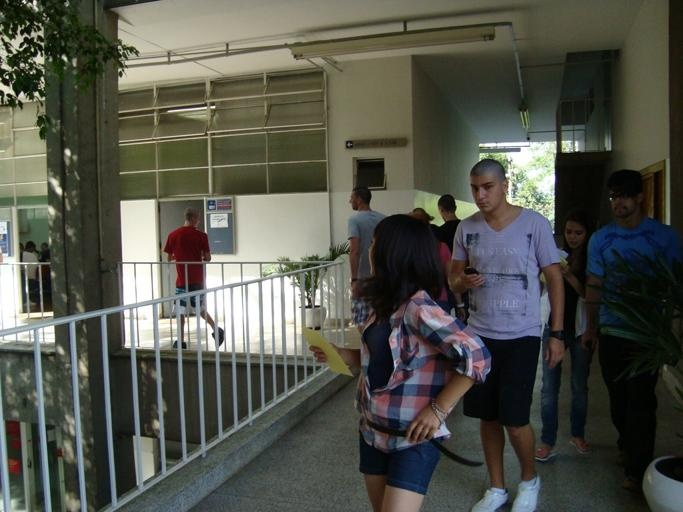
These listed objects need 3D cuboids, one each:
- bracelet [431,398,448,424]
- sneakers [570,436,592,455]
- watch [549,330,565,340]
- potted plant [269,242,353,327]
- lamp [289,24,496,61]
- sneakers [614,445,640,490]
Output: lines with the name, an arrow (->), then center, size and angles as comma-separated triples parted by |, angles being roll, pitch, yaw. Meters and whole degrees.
bracelet -> 0.479, 0.767, 2.944 | 0.037, 0.110, 0.083 | -6, 0, -8
sneakers -> 1.893, 1.504, 4.695 | 0.067, 0.064, 0.141 | -5, 3, -22
watch -> 1.444, 0.519, 3.977 | 0.072, 0.081, 0.069 | 5, -7, -33
potted plant -> -0.396, 0.344, 9.369 | 1.429, 1.422, 1.353 | -3, -6, -1
lamp -> 0.762, -3.212, 8.765 | 2.724, 0.300, 0.506 | 4, 50, 22
sneakers -> 2.050, 1.538, 4.280 | 0.102, 0.265, 0.076 | 6, -17, -35
